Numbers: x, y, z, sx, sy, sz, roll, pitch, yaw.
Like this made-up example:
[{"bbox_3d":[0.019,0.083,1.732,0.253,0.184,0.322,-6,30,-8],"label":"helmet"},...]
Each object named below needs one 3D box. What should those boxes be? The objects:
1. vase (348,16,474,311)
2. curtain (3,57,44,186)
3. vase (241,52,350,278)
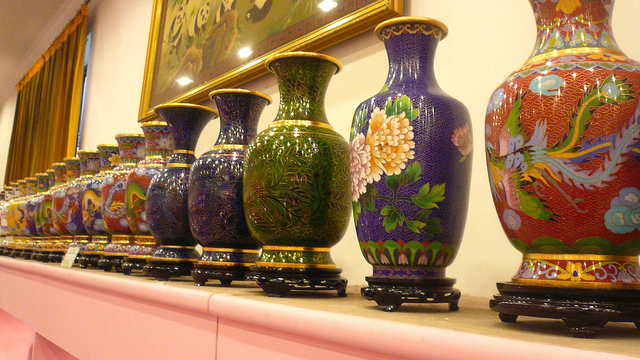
[{"bbox_3d":[0.197,-0.039,0.986,0.266,0.605,0.141,4,-9,-5],"label":"vase"},{"bbox_3d":[-2.949,-0.597,4.628,0.121,1.213,1.347,16,-21,-35],"label":"curtain"},{"bbox_3d":[-0.055,-0.037,1.105,0.250,0.522,0.110,4,-9,-9],"label":"vase"}]
